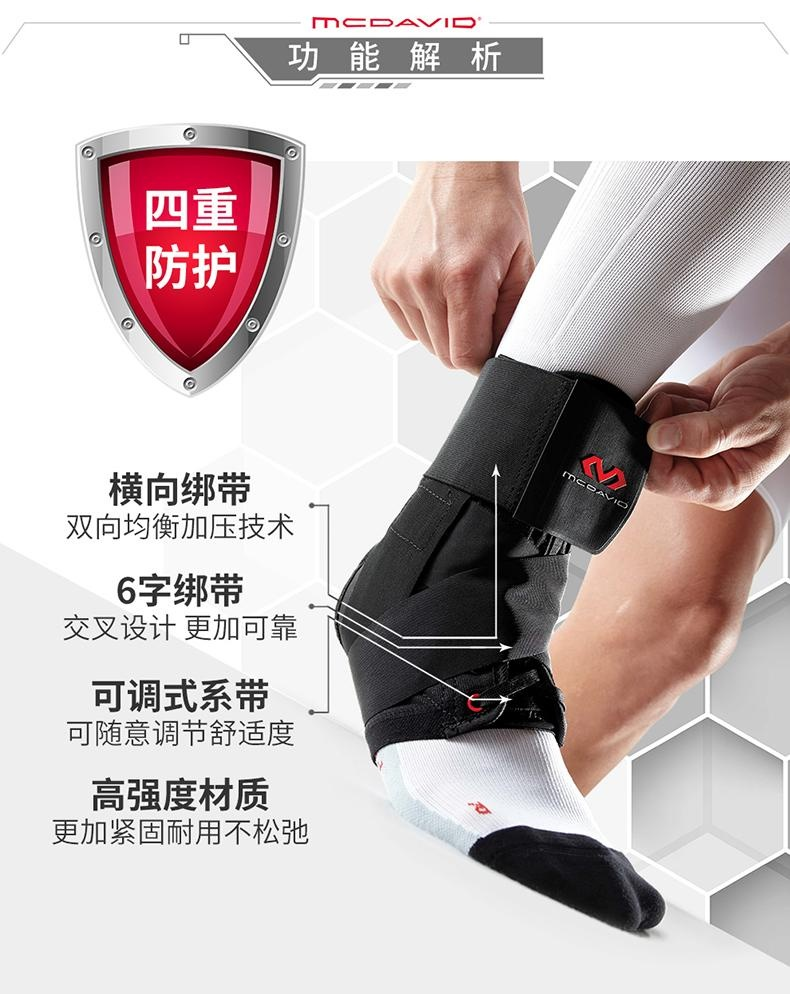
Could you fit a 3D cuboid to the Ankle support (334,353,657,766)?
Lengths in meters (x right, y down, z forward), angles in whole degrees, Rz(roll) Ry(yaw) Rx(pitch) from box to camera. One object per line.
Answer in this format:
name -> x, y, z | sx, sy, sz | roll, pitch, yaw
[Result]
Ankle support -> 0.107, 0.063, 0.899 | 0.233, 0.152, 0.363 | 39, 100, 18
